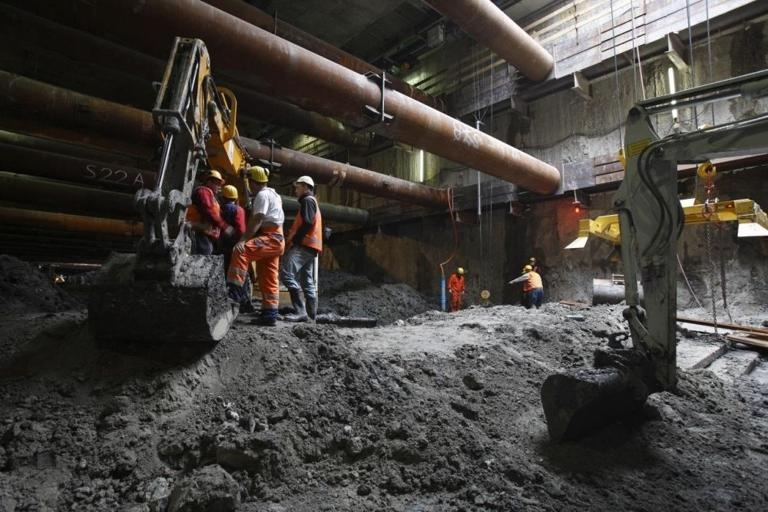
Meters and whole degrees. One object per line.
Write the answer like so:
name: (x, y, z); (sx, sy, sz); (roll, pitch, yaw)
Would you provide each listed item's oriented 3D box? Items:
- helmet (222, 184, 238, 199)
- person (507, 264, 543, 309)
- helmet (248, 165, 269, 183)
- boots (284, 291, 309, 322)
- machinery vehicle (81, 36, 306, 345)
helmet: (-2.603, -1.056, 9.210); (0.180, 0.146, 0.246); (4, 10, -6)
person: (3.931, 0.908, 14.940); (0.887, 1.404, 0.497); (-6, 11, -21)
helmet: (-2.088, -1.338, 8.859); (0.393, 0.229, 0.297); (21, 19, 40)
boots: (-1.424, 0.925, 9.174); (0.471, 0.643, 0.325); (3, -11, -1)
machinery vehicle: (-2.827, -0.688, 8.946); (1.438, 4.117, 4.407); (3, -4, -2)
